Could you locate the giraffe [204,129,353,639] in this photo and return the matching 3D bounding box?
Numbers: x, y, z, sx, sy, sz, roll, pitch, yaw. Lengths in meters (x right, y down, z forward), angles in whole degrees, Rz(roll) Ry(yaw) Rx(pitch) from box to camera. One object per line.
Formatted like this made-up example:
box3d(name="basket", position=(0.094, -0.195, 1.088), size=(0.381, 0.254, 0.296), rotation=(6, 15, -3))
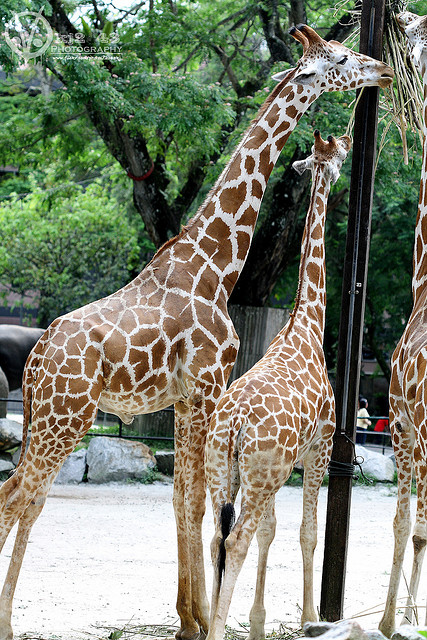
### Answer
box3d(name="giraffe", position=(0.371, 0.265, 5.126), size=(0.560, 2.632, 1.271), rotation=(4, -1, 18))
